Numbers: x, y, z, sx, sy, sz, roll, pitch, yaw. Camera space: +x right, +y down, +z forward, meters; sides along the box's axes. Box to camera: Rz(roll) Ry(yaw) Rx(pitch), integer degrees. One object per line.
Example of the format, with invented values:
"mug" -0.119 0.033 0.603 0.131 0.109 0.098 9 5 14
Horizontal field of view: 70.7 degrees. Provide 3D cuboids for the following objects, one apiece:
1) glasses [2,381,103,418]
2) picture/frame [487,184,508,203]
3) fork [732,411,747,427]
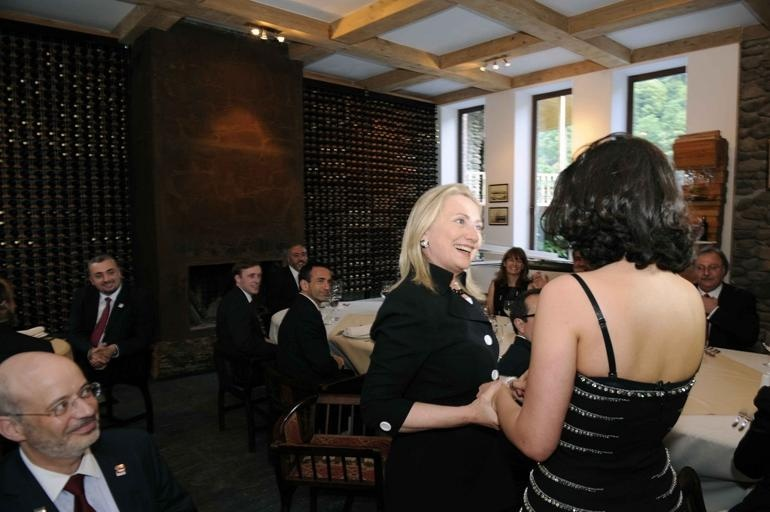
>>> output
"glasses" -1.667 0.743 2.767 0.252 0.061 0.214 -2 -2 -6
"picture/frame" 1.853 -1.014 8.854 0.028 0.264 0.368 0 0 -45
"fork" 2.027 0.935 3.100 0.044 0.081 0.037 25 -24 55
